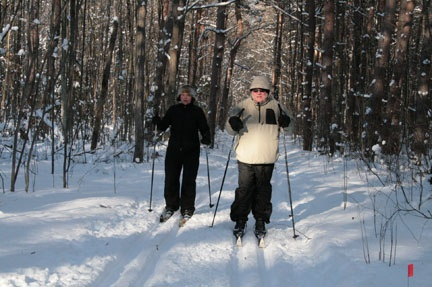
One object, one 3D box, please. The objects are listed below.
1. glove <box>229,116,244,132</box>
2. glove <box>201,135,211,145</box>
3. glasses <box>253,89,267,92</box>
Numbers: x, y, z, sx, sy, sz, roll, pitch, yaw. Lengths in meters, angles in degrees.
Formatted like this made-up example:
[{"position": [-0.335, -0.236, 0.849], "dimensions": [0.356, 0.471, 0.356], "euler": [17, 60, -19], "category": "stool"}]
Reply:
[{"position": [0.542, -0.513, 13.391], "dimensions": [0.341, 0.463, 0.276], "euler": [1, 1, -22], "category": "glove"}, {"position": [-0.294, -0.083, 14.269], "dimensions": [0.238, 0.269, 0.228], "euler": [1, -1, -16], "category": "glove"}, {"position": [1.223, -1.461, 13.537], "dimensions": [0.397, 0.072, 0.075], "euler": [2, 1, 1], "category": "glasses"}]
